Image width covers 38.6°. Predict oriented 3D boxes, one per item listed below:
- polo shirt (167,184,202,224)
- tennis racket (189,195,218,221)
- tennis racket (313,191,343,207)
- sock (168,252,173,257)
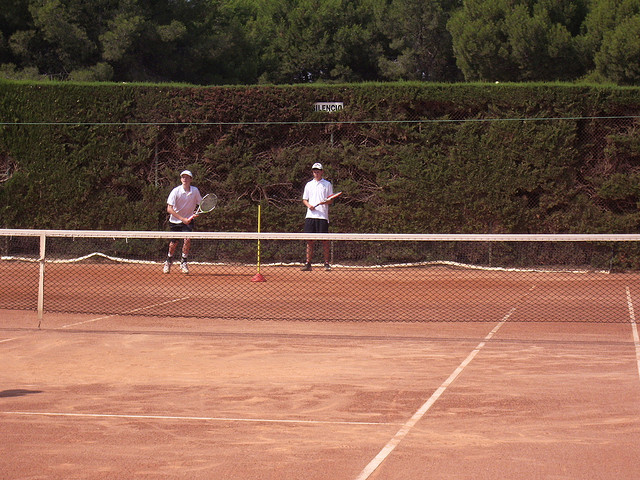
[{"bbox_3d":[-2.633,-0.652,17.900,0.804,0.890,0.390,6,-2,-21],"label":"polo shirt"},{"bbox_3d":[-2.290,-0.597,17.985,0.736,0.266,0.055,-44,11,-36],"label":"tennis racket"},{"bbox_3d":[0.137,-0.776,17.822,0.488,0.312,1.191,0,10,-1],"label":"tennis racket"},{"bbox_3d":[-2.847,0.314,17.529,0.069,0.070,0.071,2,-6,-27],"label":"sock"}]
